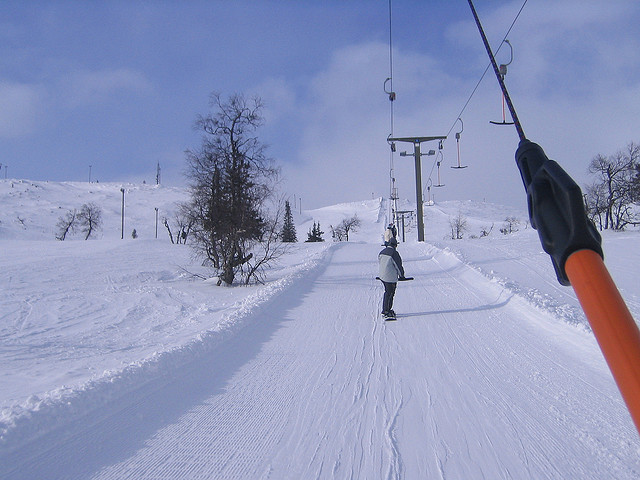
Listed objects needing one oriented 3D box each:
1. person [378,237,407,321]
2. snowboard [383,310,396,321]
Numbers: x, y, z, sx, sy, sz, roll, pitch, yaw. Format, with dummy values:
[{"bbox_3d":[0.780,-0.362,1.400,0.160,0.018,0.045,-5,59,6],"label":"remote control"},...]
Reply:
[{"bbox_3d":[1.596,0.891,11.060,0.549,1.839,0.704,0,12,5],"label":"person"},{"bbox_3d":[1.543,1.687,11.029,0.263,0.167,0.174,0,13,7],"label":"snowboard"}]
